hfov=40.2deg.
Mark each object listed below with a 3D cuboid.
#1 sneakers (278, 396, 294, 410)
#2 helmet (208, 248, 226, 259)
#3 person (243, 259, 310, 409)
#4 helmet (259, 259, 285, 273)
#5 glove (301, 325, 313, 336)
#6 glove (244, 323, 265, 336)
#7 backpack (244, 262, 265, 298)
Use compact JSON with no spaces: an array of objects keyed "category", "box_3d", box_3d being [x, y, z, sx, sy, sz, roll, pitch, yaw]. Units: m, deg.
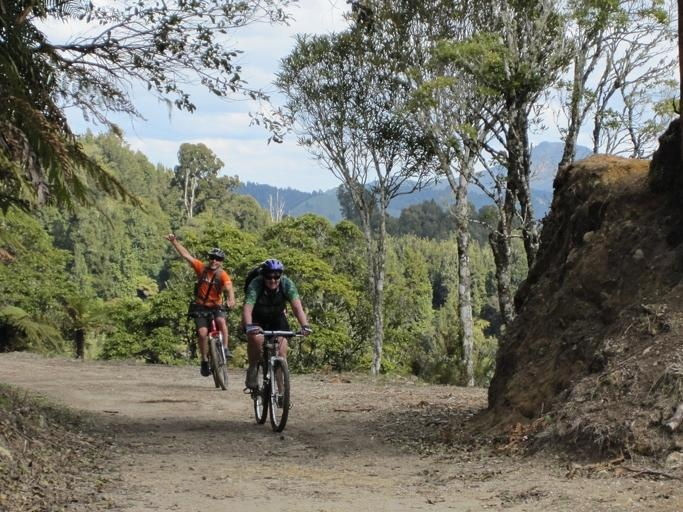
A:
[{"category":"sneakers","box_3d":[-1.015,2.649,16.885,0.215,0.221,0.457,3,-4,-14]},{"category":"helmet","box_3d":[-2.618,-0.043,19.415,0.292,0.255,0.446,2,-4,-10]},{"category":"person","box_3d":[-1.273,1.262,17.005,1.064,2.335,0.957,2,-3,-4]},{"category":"helmet","box_3d":[-1.260,0.170,16.803,0.409,0.249,0.339,3,-4,-9]},{"category":"glove","box_3d":[-0.607,1.311,16.415,0.178,0.176,0.145,-4,-2,39]},{"category":"glove","box_3d":[-1.550,1.319,16.641,0.357,0.198,0.221,3,-4,-10]},{"category":"backpack","box_3d":[-1.471,0.383,17.116,0.378,0.551,0.502,25,-27,-36]}]
